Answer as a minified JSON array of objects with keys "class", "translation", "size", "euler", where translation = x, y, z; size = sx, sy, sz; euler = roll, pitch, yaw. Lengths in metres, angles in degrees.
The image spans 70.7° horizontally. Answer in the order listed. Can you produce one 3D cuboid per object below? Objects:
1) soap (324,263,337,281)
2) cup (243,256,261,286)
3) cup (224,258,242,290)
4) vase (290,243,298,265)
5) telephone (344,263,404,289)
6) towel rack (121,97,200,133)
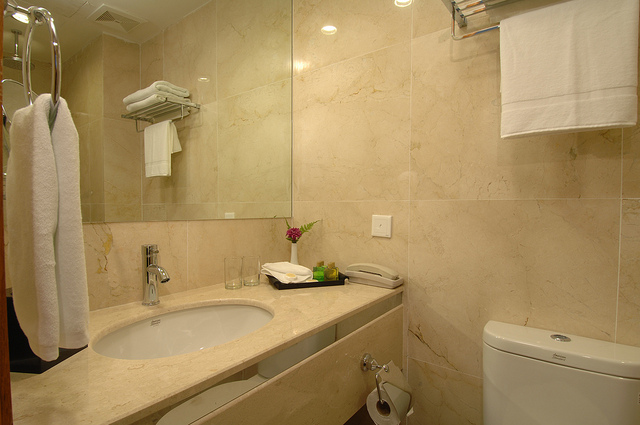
[{"class":"soap","translation":[0.053,0.290,2.175],"size":[0.070,0.129,0.069],"euler":[0,3,6]},{"class":"cup","translation":[-0.321,0.277,2.136],"size":[0.073,0.138,0.077],"euler":[-3,2,0]},{"class":"cup","translation":[-0.393,0.282,2.067],"size":[0.081,0.138,0.043],"euler":[-3,3,-13]},{"class":"vase","translation":[-0.133,0.211,2.317],"size":[0.027,0.102,0.041],"euler":[-3,3,-4]},{"class":"telephone","translation":[0.264,0.303,2.187],"size":[0.277,0.108,0.108],"euler":[-2,2,36]},{"class":"towel rack","translation":[-0.680,-0.394,1.901],"size":[0.314,0.075,0.181],"euler":[-7,-1,29]}]
